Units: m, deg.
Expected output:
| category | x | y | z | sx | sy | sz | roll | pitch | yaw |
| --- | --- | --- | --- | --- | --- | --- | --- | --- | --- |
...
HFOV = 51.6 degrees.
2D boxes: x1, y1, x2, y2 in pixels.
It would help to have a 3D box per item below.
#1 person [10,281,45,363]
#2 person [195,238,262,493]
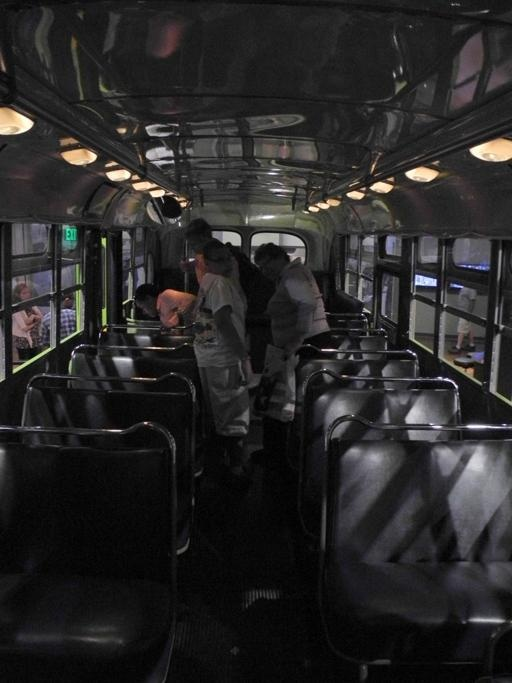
| category | x | y | z | sx | sy | sz | roll | pitch | yaw |
| --- | --- | --- | --- | --- | --- | --- | --- | --- | --- |
| person | -2.577 | -0.226 | 5.942 | 0.316 | 0.329 | 0.992 | 2 | -34 | -22 |
| person | -0.324 | 0.195 | 5.283 | 0.603 | 2.339 | 0.665 | 3 | 7 | -2 |
